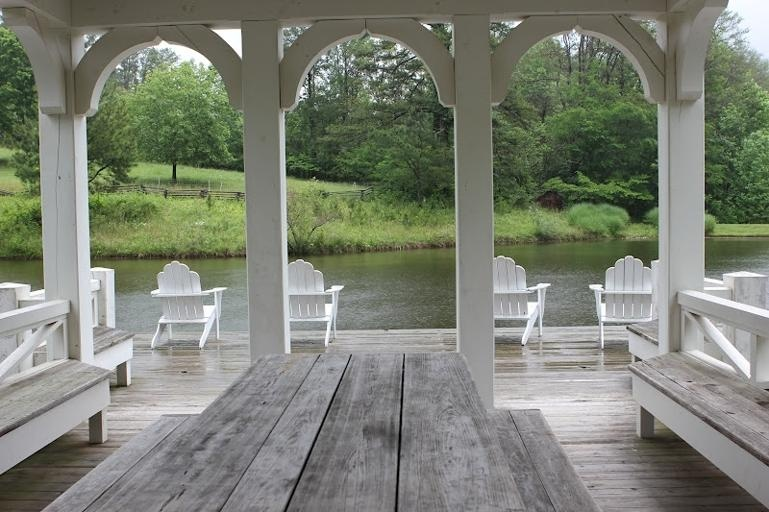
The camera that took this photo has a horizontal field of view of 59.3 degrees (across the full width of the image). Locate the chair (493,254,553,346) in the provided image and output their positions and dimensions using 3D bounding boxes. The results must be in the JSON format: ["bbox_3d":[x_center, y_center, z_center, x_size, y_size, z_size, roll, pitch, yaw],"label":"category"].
[{"bbox_3d":[1.624,0.516,8.477,0.854,0.975,0.970,-1,-1,15],"label":"chair"}]

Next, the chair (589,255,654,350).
[{"bbox_3d":[2.868,0.533,8.272,0.966,1.214,0.922,0,4,8],"label":"chair"}]

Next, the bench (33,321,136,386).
[{"bbox_3d":[-2.793,0.946,6.693,0.723,0.458,0.739,1,4,2],"label":"bench"}]

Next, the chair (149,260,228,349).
[{"bbox_3d":[-2.506,0.633,8.560,0.790,1.005,1.014,-1,-3,-7],"label":"chair"}]

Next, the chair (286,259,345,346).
[{"bbox_3d":[-0.877,0.556,8.516,0.897,1.145,0.922,0,2,3],"label":"chair"}]
